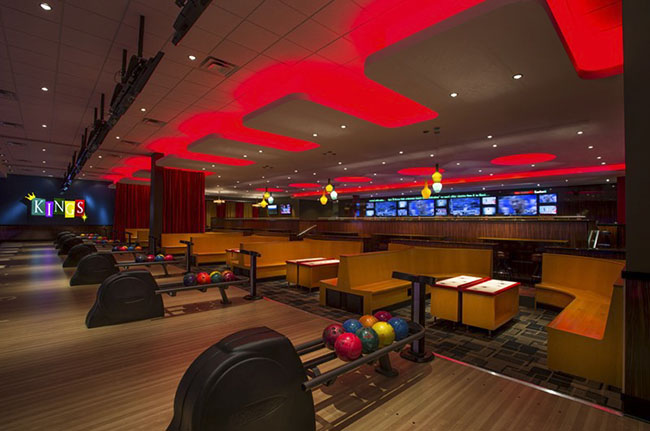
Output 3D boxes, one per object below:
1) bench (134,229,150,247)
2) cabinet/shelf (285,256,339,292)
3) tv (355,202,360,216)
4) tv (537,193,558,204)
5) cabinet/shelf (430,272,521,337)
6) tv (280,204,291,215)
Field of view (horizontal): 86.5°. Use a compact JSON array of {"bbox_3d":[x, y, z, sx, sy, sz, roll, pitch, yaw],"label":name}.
[{"bbox_3d":[-8.132,1.017,15.426,0.533,0.699,0.755,-5,-7,40],"label":"bench"},{"bbox_3d":[-0.347,1.376,8.501,1.010,0.496,0.763,3,-4,-44],"label":"cabinet/shelf"},{"bbox_3d":[2.280,-0.465,23.848,0.278,0.912,0.535,-2,0,19],"label":"tv"},{"bbox_3d":[10.525,-0.811,16.304,0.567,0.394,0.082,2,0,42],"label":"tv"},{"bbox_3d":[2.688,1.615,6.477,1.145,0.629,1.041,2,-4,-43],"label":"cabinet/shelf"},{"bbox_3d":[-2.873,-0.496,25.570,0.876,0.815,0.334,-3,0,42],"label":"tv"}]
